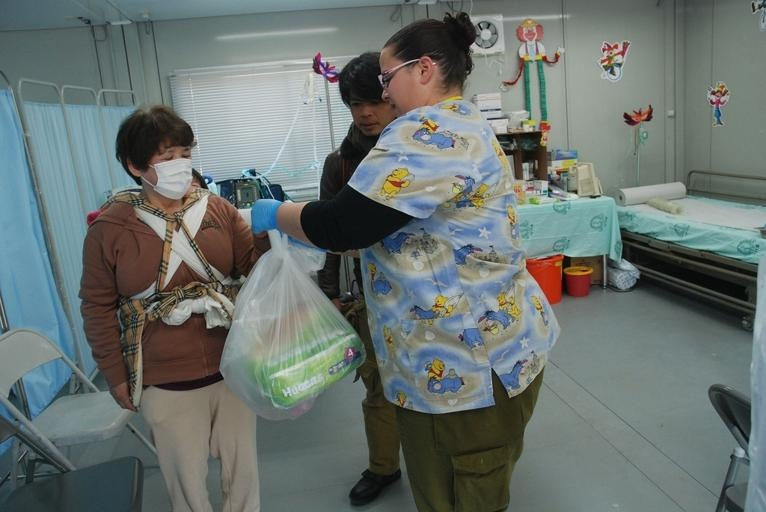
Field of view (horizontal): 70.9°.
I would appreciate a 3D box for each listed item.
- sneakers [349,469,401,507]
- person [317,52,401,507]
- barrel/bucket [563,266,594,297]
[{"bbox_3d":[-0.091,1.329,3.289,0.316,0.174,0.283,5,13,-26],"label":"sneakers"},{"bbox_3d":[-0.095,0.238,2.968,0.576,2.470,0.579,-4,24,-4],"label":"person"},{"bbox_3d":[2.020,0.270,5.565,0.274,0.269,0.284,-6,12,1],"label":"barrel/bucket"}]
